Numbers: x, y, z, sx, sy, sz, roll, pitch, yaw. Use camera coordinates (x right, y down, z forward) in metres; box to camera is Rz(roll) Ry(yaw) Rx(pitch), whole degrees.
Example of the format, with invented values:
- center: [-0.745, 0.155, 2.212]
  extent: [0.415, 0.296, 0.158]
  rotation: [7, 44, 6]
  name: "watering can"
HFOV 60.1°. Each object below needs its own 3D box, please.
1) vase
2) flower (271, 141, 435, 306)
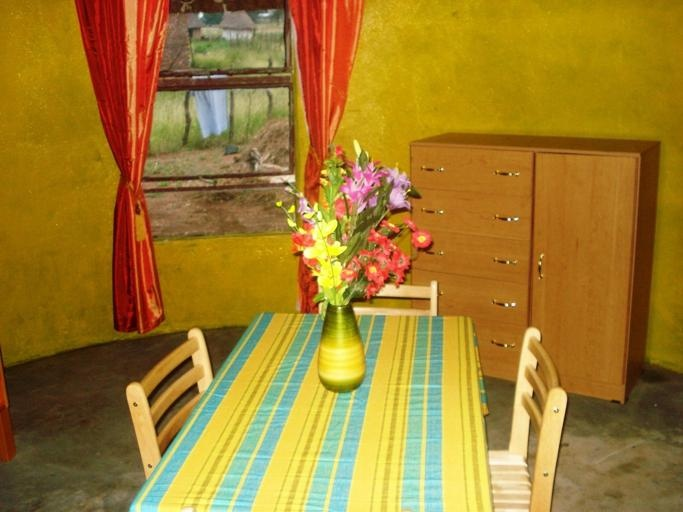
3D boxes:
- center: [-0.002, 0.363, 2.289]
  extent: [0.197, 0.340, 0.216]
  rotation: [4, 8, 32]
  name: "vase"
- center: [0.042, -0.075, 2.347]
  extent: [0.519, 0.513, 0.616]
  rotation: [8, 38, -2]
  name: "flower"
